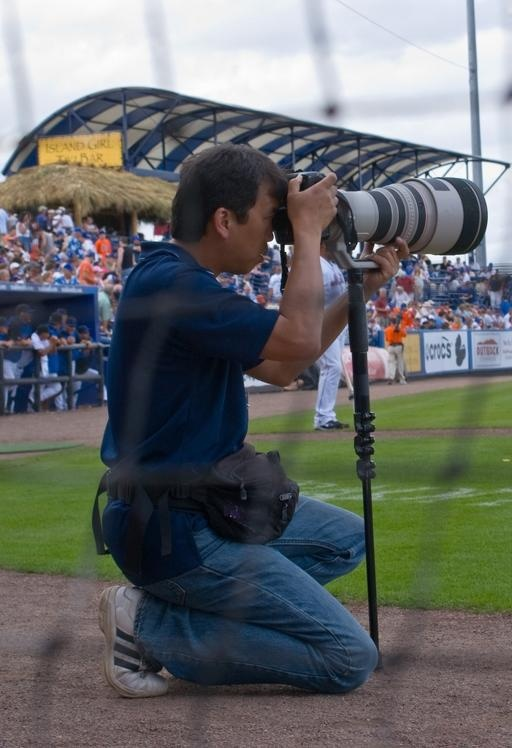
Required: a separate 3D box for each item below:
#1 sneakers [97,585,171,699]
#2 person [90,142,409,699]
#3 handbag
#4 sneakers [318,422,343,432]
[{"bbox_3d":[-0.339,0.706,2.597,0.176,0.333,0.118,-18,-4,5],"label":"sneakers"},{"bbox_3d":[-0.083,0.125,2.580,0.713,1.431,0.429,-2,4,-7],"label":"person"},{"bbox_3d":[-0.202,0.348,2.720,0.658,0.266,0.578,-3,-5,-3],"label":"handbag"},{"bbox_3d":[0.661,0.465,8.600,0.241,0.085,0.081,-8,2,11],"label":"sneakers"}]
